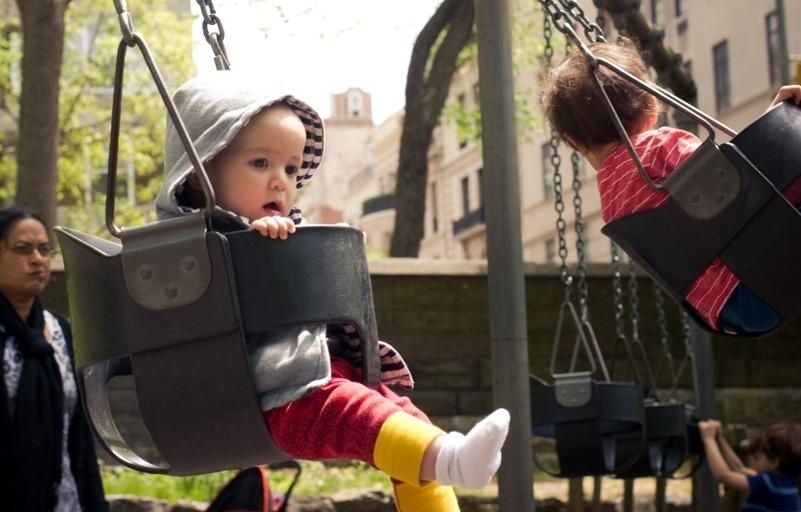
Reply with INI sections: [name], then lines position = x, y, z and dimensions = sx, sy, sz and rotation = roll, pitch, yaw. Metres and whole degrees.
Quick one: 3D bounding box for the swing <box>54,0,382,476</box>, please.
[swing]
position = -1.021, -0.092, 7.014
dimensions = 1.524, 2.441, 0.704
rotation = -4, -8, 17
